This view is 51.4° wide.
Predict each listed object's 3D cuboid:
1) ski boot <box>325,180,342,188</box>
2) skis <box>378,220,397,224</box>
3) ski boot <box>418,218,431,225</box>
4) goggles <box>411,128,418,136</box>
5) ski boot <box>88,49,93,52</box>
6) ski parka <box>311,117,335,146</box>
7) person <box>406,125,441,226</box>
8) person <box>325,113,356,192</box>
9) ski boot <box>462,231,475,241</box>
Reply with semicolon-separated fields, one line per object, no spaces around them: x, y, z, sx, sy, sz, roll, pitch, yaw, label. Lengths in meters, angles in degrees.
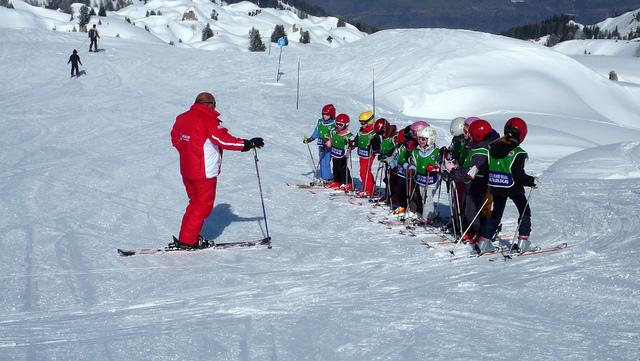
0.508;0.178;25.350;0.624;0.225;0.232;1;3;-4;ski boot
2.262;1.428;22.561;0.609;0.109;0.296;5;10;4;skis
3.481;1.371;22.399;0.417;0.185;0.162;9;12;24;ski boot
3.119;-1.591;22.017;0.197;0.188;0.162;-10;8;31;goggles
-14.997;-8.524;43.485;0.232;0.177;0.541;0;11;-21;ski boot
0.089;-1.811;24.929;1.084;0.931;0.384;12;-3;36;ski parka
3.435;-0.145;22.090;1.064;3.376;0.708;8;12;11;person
0.827;-1.027;24.848;1.063;2.889;0.951;6;12;1;person
4.738;1.814;21.320;0.429;0.193;0.195;8;-17;-8;ski boot
